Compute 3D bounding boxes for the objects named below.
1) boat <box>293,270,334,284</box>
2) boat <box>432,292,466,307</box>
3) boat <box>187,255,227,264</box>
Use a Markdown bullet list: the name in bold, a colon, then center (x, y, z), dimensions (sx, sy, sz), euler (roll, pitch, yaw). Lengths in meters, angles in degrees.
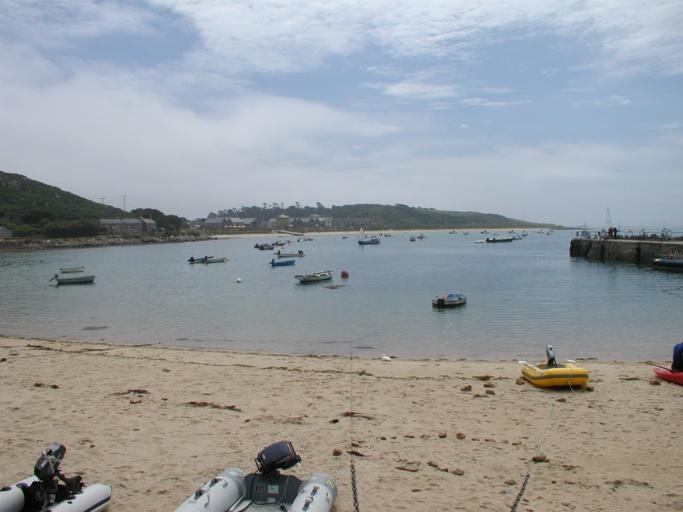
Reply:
- **boat**: center (-2.840, 2.244, 65.833), dimensions (5.191, 0.929, 1.390), euler (-4, 25, -29)
- **boat**: center (7.907, 3.184, 44.697), dimensions (1.125, 0.586, 2.462), euler (1, 1, 44)
- **boat**: center (-20.553, 0.571, 95.330), dimensions (4.563, 1.004, 6.626), euler (0, 3, 7)
